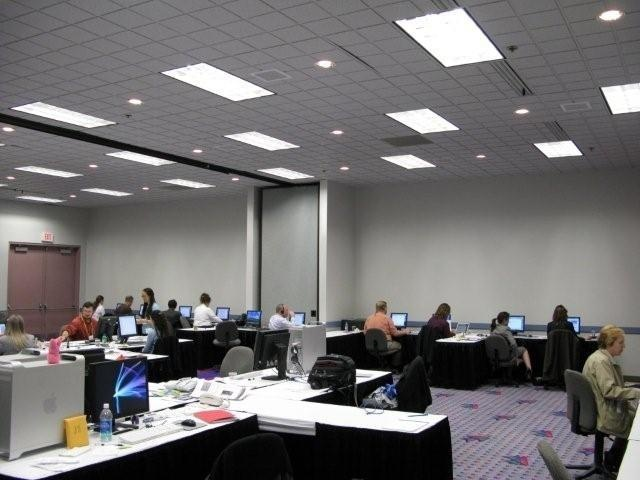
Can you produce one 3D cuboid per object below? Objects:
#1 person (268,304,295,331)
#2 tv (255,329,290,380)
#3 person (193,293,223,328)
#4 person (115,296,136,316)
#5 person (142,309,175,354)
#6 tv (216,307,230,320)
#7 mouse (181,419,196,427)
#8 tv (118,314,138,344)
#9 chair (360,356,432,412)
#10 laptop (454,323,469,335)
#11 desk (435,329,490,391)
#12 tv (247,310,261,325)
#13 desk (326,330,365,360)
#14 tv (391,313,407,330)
[{"bbox_3d":[-0.812,1.640,9.326,0.500,0.490,0.778,9,-3,-2],"label":"person"},{"bbox_3d":[-0.566,1.320,5.054,0.296,0.516,0.553,2,-1,44],"label":"tv"},{"bbox_3d":[-2.974,1.849,11.337,0.797,0.861,0.726,2,2,-19],"label":"person"},{"bbox_3d":[-5.227,1.724,11.474,0.358,0.541,1.586,10,-4,-23],"label":"person"},{"bbox_3d":[-3.090,1.726,8.107,0.691,0.872,0.711,-3,7,-23],"label":"person"},{"bbox_3d":[-2.921,2.160,12.974,0.443,0.324,0.408,3,-8,4],"label":"tv"},{"bbox_3d":[-0.997,1.348,3.242,0.076,0.027,0.048,-5,-3,35],"label":"mouse"},{"bbox_3d":[-3.772,1.705,8.386,0.186,0.455,0.487,-13,-12,36],"label":"tv"},{"bbox_3d":[0.777,1.383,4.125,0.708,0.457,0.516,-7,-10,14],"label":"chair"},{"bbox_3d":[3.311,2.028,10.026,0.328,0.293,0.261,4,-18,1],"label":"laptop"},{"bbox_3d":[3.010,2.531,9.303,0.795,0.759,1.259,-3,-8,23],"label":"desk"},{"bbox_3d":[-1.833,2.077,11.742,0.359,0.325,0.122,-1,-21,15],"label":"tv"},{"bbox_3d":[0.581,2.416,9.899,0.364,0.576,1.283,7,-3,35],"label":"desk"},{"bbox_3d":[2.025,2.050,11.027,0.478,0.417,0.350,1,-15,11],"label":"tv"}]
